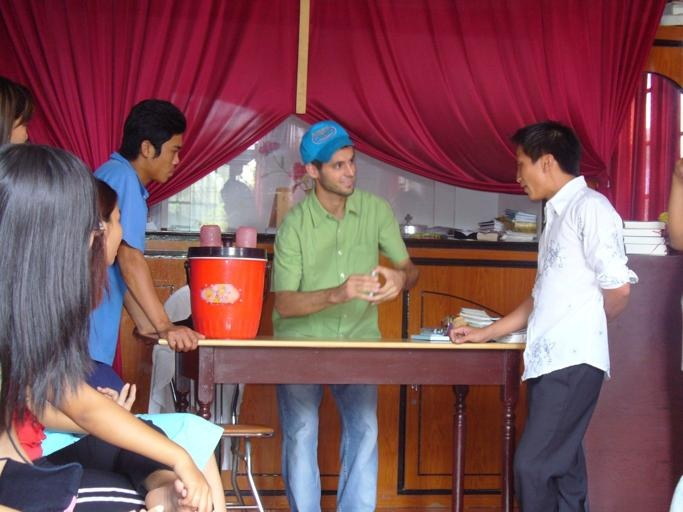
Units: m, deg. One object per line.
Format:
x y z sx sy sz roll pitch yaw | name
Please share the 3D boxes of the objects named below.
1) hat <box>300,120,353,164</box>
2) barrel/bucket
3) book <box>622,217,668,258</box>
-0.065 -0.461 2.807 0.216 0.211 0.151 -2 -6 17 | hat
-0.370 0.120 2.368 0.272 0.326 0.285 0 -2 0 | barrel/bucket
1.411 -0.081 3.251 0.157 0.132 0.172 1 -2 18 | book
